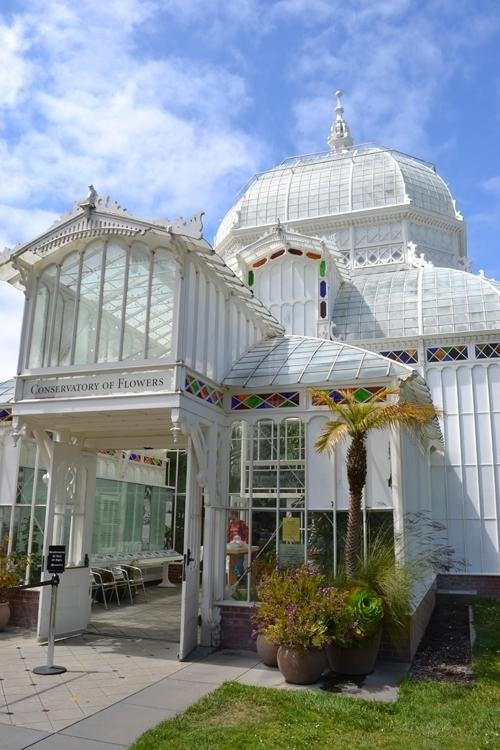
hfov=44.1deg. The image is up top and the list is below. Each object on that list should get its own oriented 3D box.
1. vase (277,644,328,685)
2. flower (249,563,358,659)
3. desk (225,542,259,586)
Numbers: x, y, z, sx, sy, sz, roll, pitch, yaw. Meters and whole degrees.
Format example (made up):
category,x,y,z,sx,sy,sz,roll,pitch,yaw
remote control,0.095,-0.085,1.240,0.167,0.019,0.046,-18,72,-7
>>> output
category,x,y,z,sx,sy,sz,roll,pitch,yaw
vase,0.564,3.060,6.617,0.464,0.300,0.456,1,-23,0
flower,0.590,2.632,7.001,0.917,0.627,0.882,3,-9,-11
desk,-0.077,2.760,8.900,0.545,0.497,0.531,-8,-33,18
